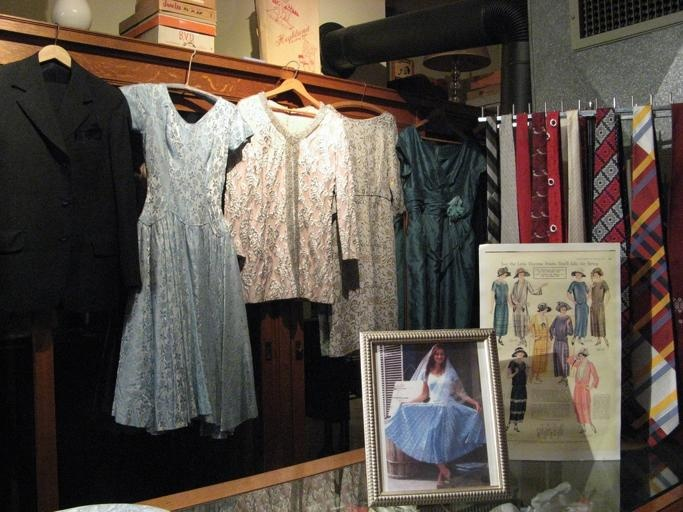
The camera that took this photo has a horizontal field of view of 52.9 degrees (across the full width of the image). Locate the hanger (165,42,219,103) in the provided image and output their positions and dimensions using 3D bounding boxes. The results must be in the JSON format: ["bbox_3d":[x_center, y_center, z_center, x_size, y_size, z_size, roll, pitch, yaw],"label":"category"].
[{"bbox_3d":[-0.619,-0.746,2.827,0.209,0.264,0.256,-2,-3,-15],"label":"hanger"}]

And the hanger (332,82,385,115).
[{"bbox_3d":[0.073,-0.784,3.418,0.216,0.134,0.009,2,0,-37],"label":"hanger"}]

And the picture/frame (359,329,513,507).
[{"bbox_3d":[0.235,0.413,1.743,0.381,0.505,0.035,0,-11,-9],"label":"picture/frame"}]

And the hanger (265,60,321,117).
[{"bbox_3d":[-0.231,-0.760,3.143,0.286,0.219,0.026,6,-9,-38],"label":"hanger"}]

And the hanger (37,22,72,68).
[{"bbox_3d":[-1.059,-0.779,2.534,0.117,0.207,0.166,-2,-3,-24],"label":"hanger"}]
